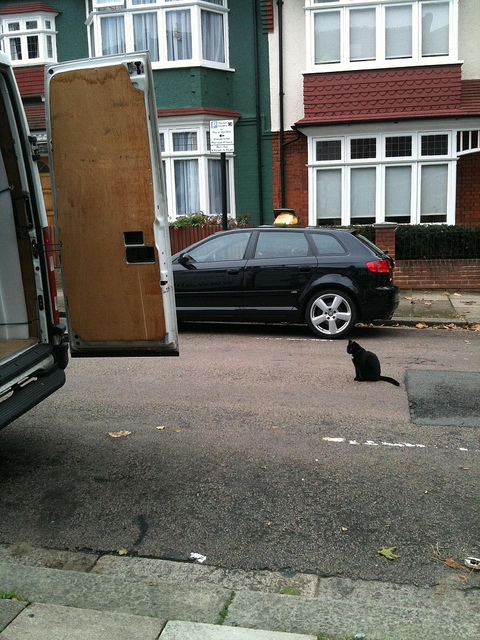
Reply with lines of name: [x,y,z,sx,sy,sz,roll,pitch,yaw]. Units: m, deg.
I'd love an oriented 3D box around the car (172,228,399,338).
car: [0.770,-0.724,9.466,3.923,1.381,1.715,3,4,10]

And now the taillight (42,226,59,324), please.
taillight: [-1.464,-0.351,4.275,0.169,0.641,0.128,7,15,33]

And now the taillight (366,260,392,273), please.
taillight: [2.241,-0.865,8.683,0.525,0.205,0.176,-7,10,-39]

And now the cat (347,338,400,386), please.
cat: [1.554,0.530,6.320,0.734,0.446,0.203,15,-5,-3]
